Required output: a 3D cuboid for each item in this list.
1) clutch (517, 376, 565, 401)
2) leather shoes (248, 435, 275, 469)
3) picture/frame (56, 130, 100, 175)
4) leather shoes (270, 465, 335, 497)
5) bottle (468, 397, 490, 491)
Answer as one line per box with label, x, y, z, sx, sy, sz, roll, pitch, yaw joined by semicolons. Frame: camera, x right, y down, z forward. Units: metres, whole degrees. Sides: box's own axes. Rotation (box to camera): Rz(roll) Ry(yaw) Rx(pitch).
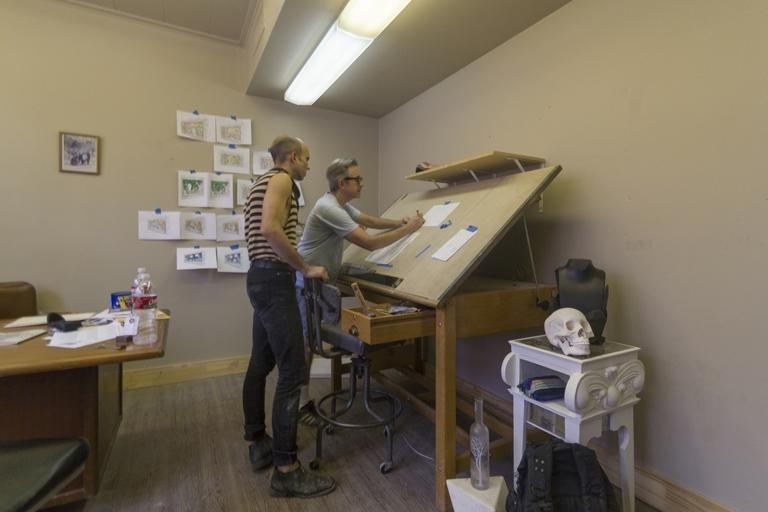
clutch;0.930;0.780;3.113;0.156;0.050;0.156;-1;2;-14
leather shoes;-0.812;1.322;3.578;0.119;0.175;0.253;-1;2;11
picture/frame;-2.523;-0.848;4.356;0.330;0.391;0.026;9;-5;-32
leather shoes;-0.522;1.436;3.332;0.361;0.164;0.179;0;-4;-10
bottle;0.563;1.061;3.128;0.118;0.499;0.323;2;8;10
